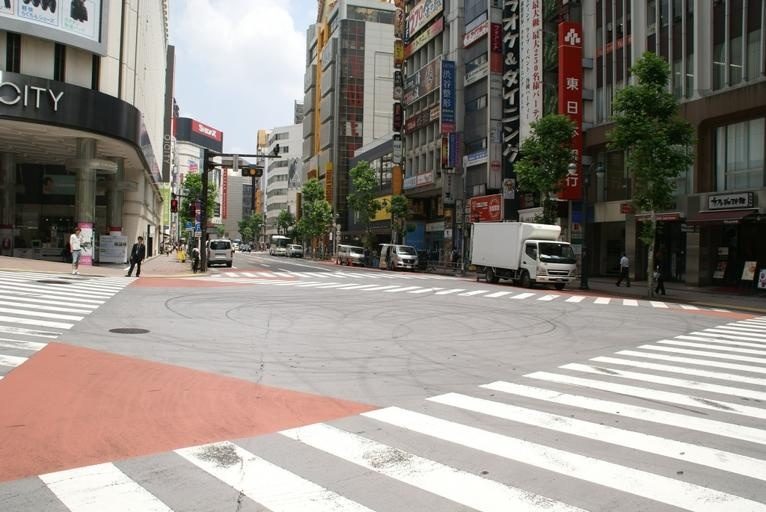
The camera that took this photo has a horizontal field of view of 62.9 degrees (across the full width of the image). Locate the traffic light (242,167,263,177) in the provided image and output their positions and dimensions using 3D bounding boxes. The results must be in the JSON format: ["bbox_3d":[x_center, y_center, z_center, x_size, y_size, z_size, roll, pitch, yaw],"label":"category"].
[{"bbox_3d":[-6.735,-4.365,32.480,0.348,0.294,0.698,1,3,27],"label":"traffic light"}]

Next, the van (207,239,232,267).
[{"bbox_3d":[-12.595,-0.360,48.528,1.372,1.435,2.440,-1,8,-16],"label":"van"}]

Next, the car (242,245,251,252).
[{"bbox_3d":[-26.871,-1.496,123.622,1.101,0.835,1.766,0,-4,-20],"label":"car"}]

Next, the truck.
[{"bbox_3d":[7.345,-0.155,33.901,2.399,3.377,6.933,2,1,-20],"label":"truck"}]

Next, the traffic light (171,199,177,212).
[{"bbox_3d":[-12.175,-2.939,36.564,0.273,0.723,1.053,-1,9,-21],"label":"traffic light"}]

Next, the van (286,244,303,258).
[{"bbox_3d":[-11.058,-0.543,79.131,1.885,1.689,2.893,1,8,-13],"label":"van"}]

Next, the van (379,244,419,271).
[{"bbox_3d":[1.432,0.077,47.736,1.563,1.426,2.714,2,-4,-23],"label":"van"}]
